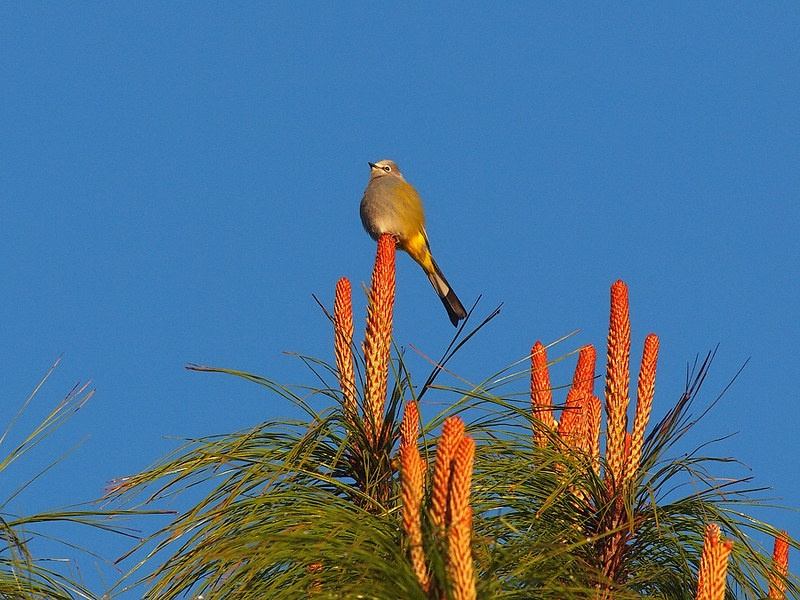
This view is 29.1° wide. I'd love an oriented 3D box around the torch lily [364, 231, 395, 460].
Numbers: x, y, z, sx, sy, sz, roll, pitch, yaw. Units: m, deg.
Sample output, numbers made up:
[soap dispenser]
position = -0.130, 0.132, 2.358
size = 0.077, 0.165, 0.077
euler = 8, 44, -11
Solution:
[torch lily]
position = -0.095, 0.191, 6.594
size = 0.172, 1.031, 0.214
euler = 2, -9, 0
